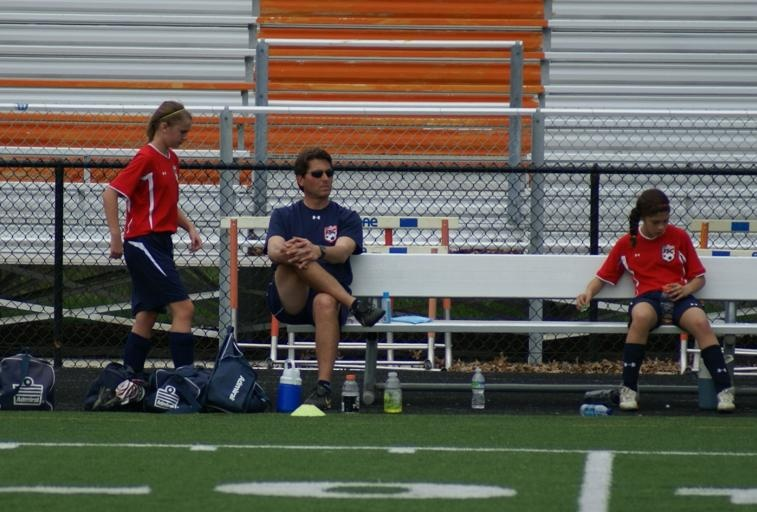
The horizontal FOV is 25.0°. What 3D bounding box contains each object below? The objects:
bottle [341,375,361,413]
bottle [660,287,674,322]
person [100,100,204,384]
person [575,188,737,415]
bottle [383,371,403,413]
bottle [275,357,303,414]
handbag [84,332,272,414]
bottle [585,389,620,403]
[{"bbox_3d":[-0.229,1.177,15.074,0.159,0.328,0.340,1,2,-1],"label":"bottle"},{"bbox_3d":[2.549,0.427,15.082,0.112,0.272,0.068,2,2,5],"label":"bottle"},{"bbox_3d":[-2.040,-0.127,15.265,0.973,2.473,0.727,-2,-7,10],"label":"person"},{"bbox_3d":[2.487,0.418,15.414,1.489,1.911,1.090,-2,-4,0],"label":"person"},{"bbox_3d":[0.145,1.178,15.080,0.153,0.350,0.254,1,2,0],"label":"bottle"},{"bbox_3d":[-0.768,1.124,15.075,0.216,0.440,0.387,1,2,-4],"label":"bottle"},{"bbox_3d":[-1.744,0.975,15.116,1.297,0.555,0.776,2,-4,1],"label":"handbag"},{"bbox_3d":[2.008,1.240,15.190,0.337,0.112,0.142,-5,-12,11],"label":"bottle"}]
